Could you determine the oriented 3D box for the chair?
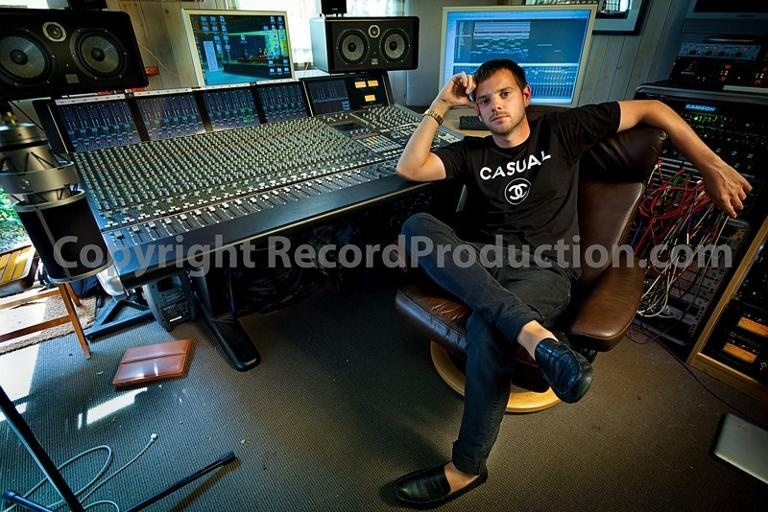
[{"bbox_3d":[0.751,-0.009,2.437,1.171,1.346,1.304,23,34,36],"label":"chair"}]

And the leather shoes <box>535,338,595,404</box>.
[{"bbox_3d":[0.699,0.461,1.954,0.119,0.179,0.302,-40,58,-10],"label":"leather shoes"}]

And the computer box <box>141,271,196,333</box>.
[{"bbox_3d":[-1.343,0.218,2.848,0.264,0.388,0.255,-14,24,-23],"label":"computer box"}]

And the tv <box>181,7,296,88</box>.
[{"bbox_3d":[-0.856,-1.225,2.721,0.727,0.495,0.029,-14,27,-27],"label":"tv"}]
